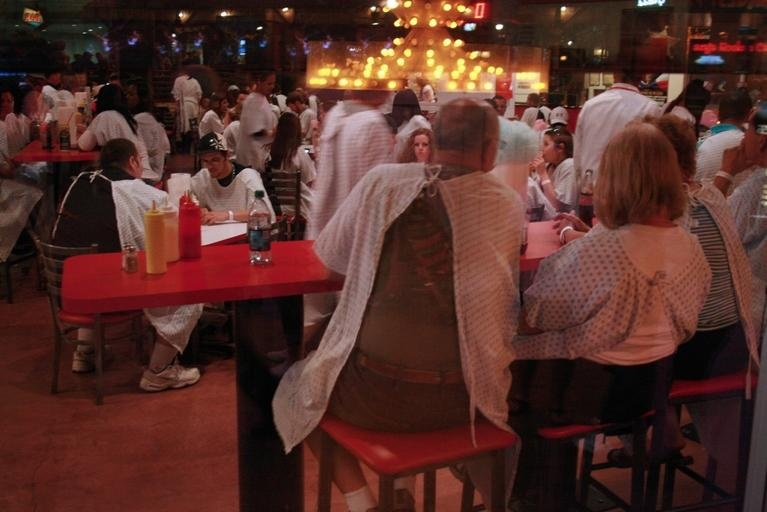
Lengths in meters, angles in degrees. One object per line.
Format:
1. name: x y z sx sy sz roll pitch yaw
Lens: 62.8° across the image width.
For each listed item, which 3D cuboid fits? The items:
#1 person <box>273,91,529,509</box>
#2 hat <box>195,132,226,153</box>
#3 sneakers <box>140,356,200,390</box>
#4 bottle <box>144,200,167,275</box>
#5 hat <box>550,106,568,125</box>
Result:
1. person: 0.034 0.071 1.942 0.760 1.081 0.310 2 14 9
2. hat: -0.609 -0.406 2.266 0.072 0.052 0.100 -1 3 4
3. sneakers: -1.143 0.637 3.407 0.303 0.144 0.121 -4 17 -34
4. bottle: -0.760 -0.066 2.103 0.072 0.219 0.171 -5 14 -19
5. hat: 0.563 -0.458 2.037 0.102 0.057 0.035 -10 17 -35
